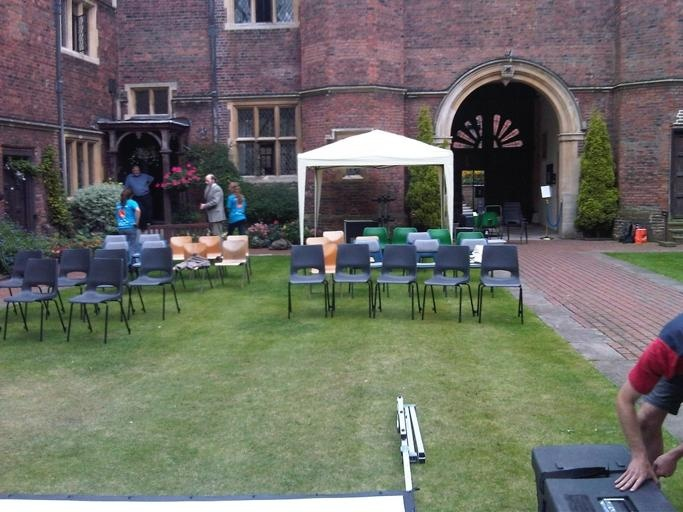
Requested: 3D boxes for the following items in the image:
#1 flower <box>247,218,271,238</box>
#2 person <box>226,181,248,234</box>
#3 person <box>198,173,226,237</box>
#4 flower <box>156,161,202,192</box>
[{"bbox_3d":[-2.379,-0.806,18.337,0.489,0.527,0.535,1,3,-45],"label":"flower"},{"bbox_3d":[-2.421,-1.087,14.421,0.435,1.204,1.419,-3,7,-10],"label":"person"},{"bbox_3d":[-2.976,-1.188,14.600,0.486,1.411,0.918,-3,7,-10],"label":"person"},{"bbox_3d":[-4.683,-2.341,18.396,1.106,0.774,1.073,-4,7,-13],"label":"flower"}]
